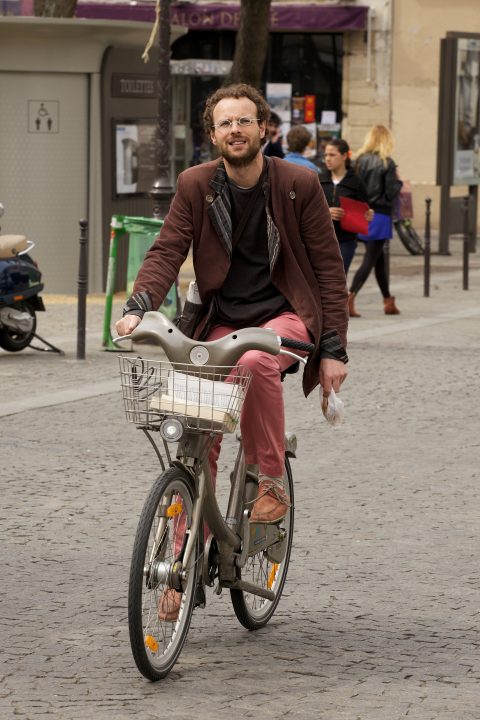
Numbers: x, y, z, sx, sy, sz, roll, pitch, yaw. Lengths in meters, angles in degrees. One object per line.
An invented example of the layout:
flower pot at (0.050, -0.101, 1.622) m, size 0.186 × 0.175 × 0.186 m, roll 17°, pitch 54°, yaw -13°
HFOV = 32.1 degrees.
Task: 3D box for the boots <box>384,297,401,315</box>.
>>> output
boots at (2.167, -0.761, 11.817) m, size 0.191 × 0.251 × 0.346 m, roll 4°, pitch 3°, yaw 38°

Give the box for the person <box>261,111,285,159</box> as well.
person at (0.592, -4.371, 16.009) m, size 0.538 × 0.655 × 1.764 m, roll 13°, pitch 24°, yaw -6°

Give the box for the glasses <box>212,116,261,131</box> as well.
glasses at (-0.009, -0.690, 2.459) m, size 0.129 × 0.047 × 0.061 m, roll 2°, pitch 2°, yaw 0°

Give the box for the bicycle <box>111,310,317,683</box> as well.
bicycle at (-0.065, 0.390, 2.382) m, size 0.500 × 1.035 × 1.022 m, roll 2°, pitch 3°, yaw 16°
